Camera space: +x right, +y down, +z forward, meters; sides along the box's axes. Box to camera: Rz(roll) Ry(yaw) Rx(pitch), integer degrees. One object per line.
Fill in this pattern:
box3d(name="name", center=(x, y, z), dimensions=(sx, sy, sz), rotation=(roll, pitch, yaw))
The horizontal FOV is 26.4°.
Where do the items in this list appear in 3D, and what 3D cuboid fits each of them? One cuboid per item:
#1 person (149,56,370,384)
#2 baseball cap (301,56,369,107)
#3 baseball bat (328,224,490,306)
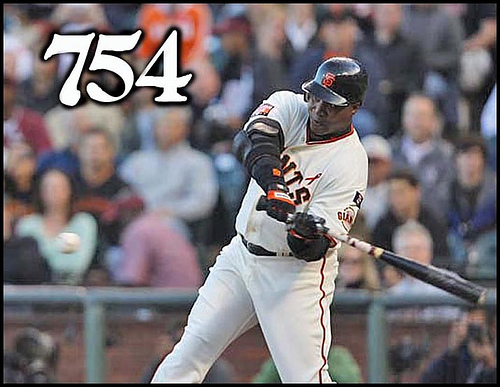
box3d(name="person", center=(0.206, 0.189, 7.488), dimensions=(1.136, 2.389, 0.522), rotation=(7, -4, -2))
box3d(name="baseball cap", center=(0.626, -0.823, 7.554), dimensions=(0.518, 0.270, 0.389), rotation=(-3, 30, -37))
box3d(name="baseball bat", center=(1.263, 0.585, 8.537), dimensions=(1.122, 0.176, 0.143), rotation=(25, 32, -1))
